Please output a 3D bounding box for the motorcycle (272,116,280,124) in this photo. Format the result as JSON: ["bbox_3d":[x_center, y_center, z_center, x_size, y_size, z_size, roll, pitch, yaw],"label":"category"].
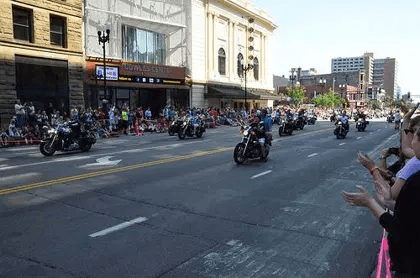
[{"bbox_3d":[8.025,-2.247,37.993,0.694,0.730,1.126,-1,0,45],"label":"motorcycle"}]

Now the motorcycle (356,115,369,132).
[{"bbox_3d":[14.485,-1.525,30.051,0.915,1.201,1.938,-1,1,38],"label":"motorcycle"}]

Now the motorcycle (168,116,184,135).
[{"bbox_3d":[-2.715,-0.983,24.508,1.901,1.139,0.778,-12,15,-43],"label":"motorcycle"}]

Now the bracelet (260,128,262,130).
[{"bbox_3d":[2.271,-0.444,13.923,0.039,0.065,0.061,-7,-13,21],"label":"bracelet"}]

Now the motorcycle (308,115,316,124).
[{"bbox_3d":[13.176,-2.514,41.138,1.612,1.005,0.775,-7,2,-45],"label":"motorcycle"}]

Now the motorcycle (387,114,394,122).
[{"bbox_3d":[29.317,-3.277,50.802,0.932,1.181,1.720,3,5,42],"label":"motorcycle"}]

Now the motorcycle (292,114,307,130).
[{"bbox_3d":[8.819,-1.652,30.820,0.921,1.133,1.857,-2,-1,31],"label":"motorcycle"}]

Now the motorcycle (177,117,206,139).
[{"bbox_3d":[-1.446,-0.782,22.762,0.571,1.526,2.196,7,10,40],"label":"motorcycle"}]

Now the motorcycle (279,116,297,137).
[{"bbox_3d":[6.009,-1.056,24.910,0.783,1.530,1.846,6,10,34],"label":"motorcycle"}]

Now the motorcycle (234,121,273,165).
[{"bbox_3d":[1.703,0.288,14.223,2.144,1.482,1.051,2,-2,-44],"label":"motorcycle"}]

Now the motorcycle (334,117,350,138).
[{"bbox_3d":[9.561,-0.815,23.167,0.844,1.253,1.825,-1,0,36],"label":"motorcycle"}]

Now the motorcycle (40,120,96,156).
[{"bbox_3d":[-7.531,-0.013,16.308,2.687,1.669,1.339,-2,-4,-43],"label":"motorcycle"}]

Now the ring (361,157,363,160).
[{"bbox_3d":[2.642,0.341,5.444,0.027,0.046,0.070,-6,-12,-7],"label":"ring"}]

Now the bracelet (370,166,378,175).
[{"bbox_3d":[2.750,0.577,5.265,0.056,0.157,0.146,20,28,8],"label":"bracelet"}]
